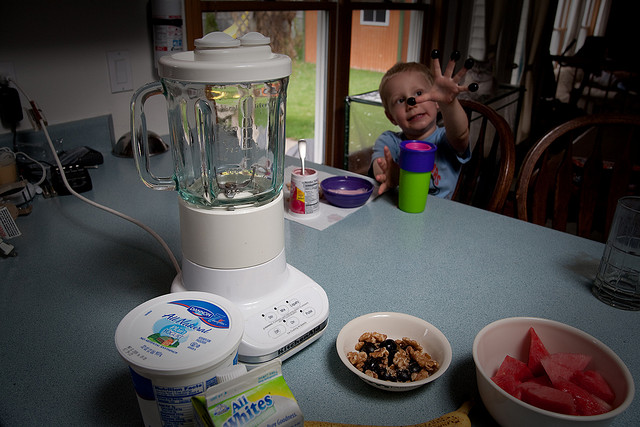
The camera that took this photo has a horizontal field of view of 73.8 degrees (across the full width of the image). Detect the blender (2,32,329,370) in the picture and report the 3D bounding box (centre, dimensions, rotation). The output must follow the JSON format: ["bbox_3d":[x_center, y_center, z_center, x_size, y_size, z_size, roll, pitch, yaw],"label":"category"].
[{"bbox_3d":[-0.339,-0.096,0.988,0.591,0.500,0.694,-15,30,-30],"label":"blender"}]

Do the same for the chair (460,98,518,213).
[{"bbox_3d":[0.615,-0.207,1.585,0.206,0.355,0.497,5,27,12],"label":"chair"}]

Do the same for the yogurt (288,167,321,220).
[{"bbox_3d":[-0.046,-0.060,1.347,0.104,0.137,0.109,2,14,7],"label":"yogurt"}]

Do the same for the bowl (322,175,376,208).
[{"bbox_3d":[0.098,-0.091,1.458,0.176,0.057,0.226,10,29,20],"label":"bowl"}]

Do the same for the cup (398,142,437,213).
[{"bbox_3d":[0.299,-0.107,1.336,0.101,0.202,0.063,4,27,10],"label":"cup"}]

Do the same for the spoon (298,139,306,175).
[{"bbox_3d":[-0.057,-0.177,1.319,0.018,0.111,0.018,-1,4,1],"label":"spoon"}]

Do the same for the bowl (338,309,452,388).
[{"bbox_3d":[0.161,0.267,0.891,0.217,0.064,0.225,-1,27,1],"label":"bowl"}]
